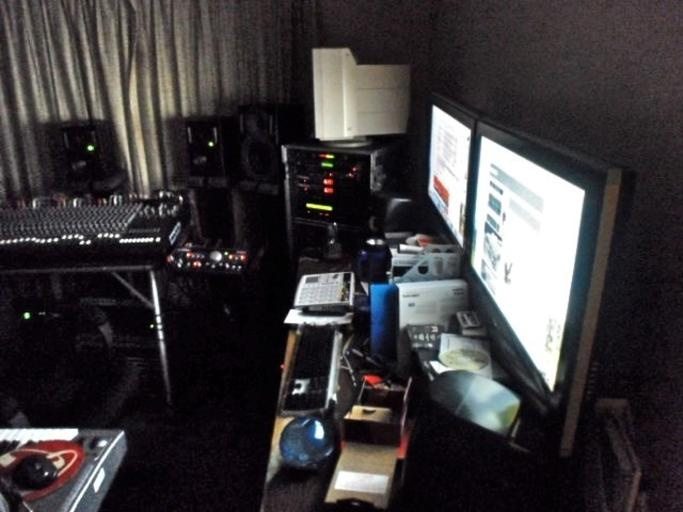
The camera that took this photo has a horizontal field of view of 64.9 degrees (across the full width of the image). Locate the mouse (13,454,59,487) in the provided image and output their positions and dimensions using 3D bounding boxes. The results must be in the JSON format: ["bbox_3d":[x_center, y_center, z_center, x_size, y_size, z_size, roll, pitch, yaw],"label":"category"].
[{"bbox_3d":[-0.919,0.642,1.604,0.110,0.074,0.088,8,23,28],"label":"mouse"}]

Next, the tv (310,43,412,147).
[{"bbox_3d":[0.132,-0.802,2.678,0.602,0.380,0.282,8,19,26],"label":"tv"}]

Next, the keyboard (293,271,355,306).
[{"bbox_3d":[-0.069,0.133,2.111,0.152,0.035,0.152,-1,27,10],"label":"keyboard"}]

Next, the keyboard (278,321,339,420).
[{"bbox_3d":[-0.087,0.356,1.768,0.177,0.041,0.359,1,47,13],"label":"keyboard"}]

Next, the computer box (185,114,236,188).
[{"bbox_3d":[-0.728,-0.601,3.049,0.299,0.356,0.216,-7,21,-10],"label":"computer box"}]

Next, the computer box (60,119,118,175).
[{"bbox_3d":[-1.465,-0.627,3.134,0.199,0.300,0.423,-8,21,-13],"label":"computer box"}]
